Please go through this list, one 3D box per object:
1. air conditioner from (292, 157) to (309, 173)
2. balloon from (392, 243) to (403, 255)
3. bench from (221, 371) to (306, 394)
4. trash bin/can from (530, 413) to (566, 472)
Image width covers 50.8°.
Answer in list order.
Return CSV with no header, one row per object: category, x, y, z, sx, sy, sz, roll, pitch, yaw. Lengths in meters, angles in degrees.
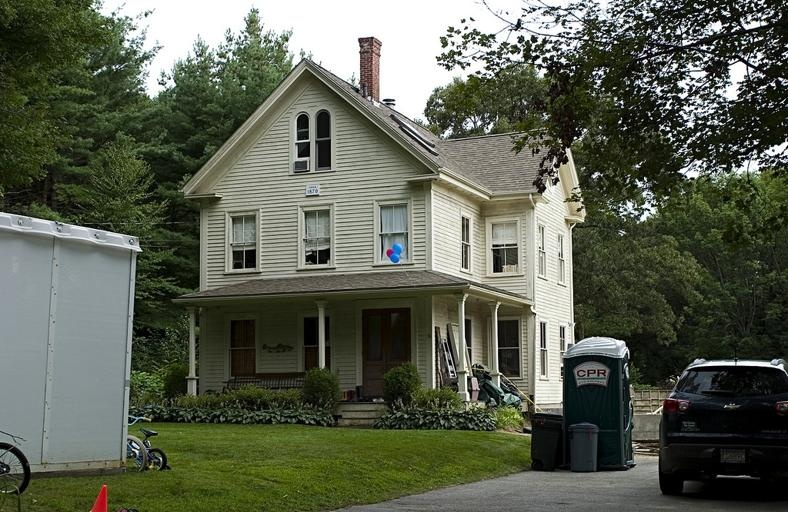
air conditioner,-3.582,-3.523,32.078,0.631,0.495,0.329,-2,-6,28
balloon,0.159,-0.257,30.511,0.374,0.486,0.370,0,4,19
bench,-4.776,4.582,30.489,3.553,0.692,1.251,-5,-12,23
trash bin/can,3.971,4.770,21.361,0.844,1.410,0.580,-1,-11,5
